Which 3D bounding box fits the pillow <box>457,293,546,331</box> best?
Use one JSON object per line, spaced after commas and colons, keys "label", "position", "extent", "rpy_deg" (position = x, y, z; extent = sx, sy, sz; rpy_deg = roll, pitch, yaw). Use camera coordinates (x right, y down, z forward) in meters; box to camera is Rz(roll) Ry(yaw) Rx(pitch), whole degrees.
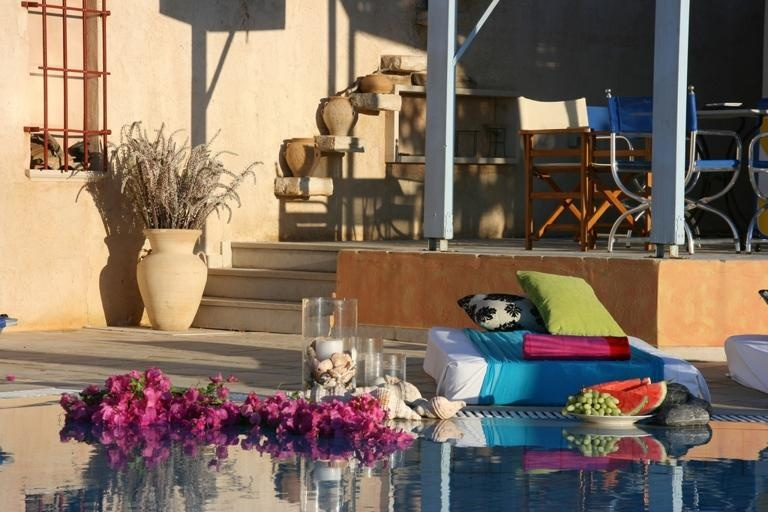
{"label": "pillow", "position": [0.896, 0.398, 12.787], "extent": [0.477, 0.160, 0.293], "rpy_deg": [-5, 38, -33]}

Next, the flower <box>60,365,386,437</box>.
{"label": "flower", "position": [-1.129, 0.985, 11.588], "extent": [2.240, 0.437, 0.385], "rpy_deg": [0, 1, 7]}

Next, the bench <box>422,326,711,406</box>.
{"label": "bench", "position": [1.220, 0.802, 12.289], "extent": [1.864, 0.484, 0.735], "rpy_deg": [0, 1, 1]}

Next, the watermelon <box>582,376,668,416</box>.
{"label": "watermelon", "position": [1.745, 1.004, 11.745], "extent": [0.466, 0.262, 0.730], "rpy_deg": [8, 7, 31]}

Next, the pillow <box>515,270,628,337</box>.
{"label": "pillow", "position": [1.366, 0.349, 12.563], "extent": [0.554, 0.135, 0.552], "rpy_deg": [5, 34, -30]}

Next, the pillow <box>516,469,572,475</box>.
{"label": "pillow", "position": [1.027, 1.364, 10.776], "extent": [0.242, 0.031, 0.091], "rpy_deg": [0, 1, -1]}

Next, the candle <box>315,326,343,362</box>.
{"label": "candle", "position": [-0.390, 0.628, 11.878], "extent": [0.157, 0.118, 0.160], "rpy_deg": [2, 3, 44]}

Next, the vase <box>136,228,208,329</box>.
{"label": "vase", "position": [-1.786, 0.200, 15.254], "extent": [0.805, 1.063, 0.783], "rpy_deg": [4, -3, -44]}
